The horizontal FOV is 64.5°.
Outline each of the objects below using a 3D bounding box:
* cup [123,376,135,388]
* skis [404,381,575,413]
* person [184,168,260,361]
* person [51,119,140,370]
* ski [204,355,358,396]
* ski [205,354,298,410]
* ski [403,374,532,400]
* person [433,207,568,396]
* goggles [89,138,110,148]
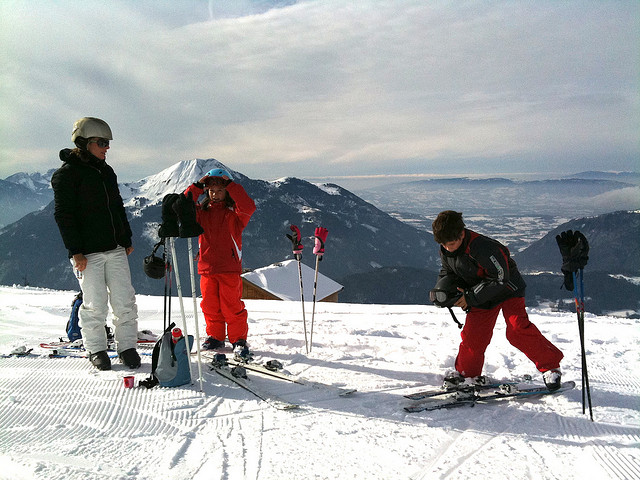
[{"bbox_3d":[-2.323,1.726,6.195,0.128,0.090,0.131,0,-3,0],"label":"cup"},{"bbox_3d":[2.134,1.954,6.293,1.678,0.123,0.218,-3,29,-11],"label":"skis"},{"bbox_3d":[-1.442,0.334,7.717,0.723,2.734,0.975,-5,2,-41],"label":"person"},{"bbox_3d":[-3.020,0.078,6.867,0.906,3.487,0.555,-5,1,-21],"label":"person"},{"bbox_3d":[-0.566,1.850,6.908,1.825,0.120,0.206,9,7,43],"label":"ski"},{"bbox_3d":[-0.913,1.855,6.605,0.169,0.124,1.178,-1,14,-42],"label":"ski"},{"bbox_3d":[1.905,1.898,6.547,1.830,0.113,0.175,-3,42,-12],"label":"ski"},{"bbox_3d":[2.162,0.791,6.434,1.409,1.807,0.685,-4,1,10],"label":"person"},{"bbox_3d":[-2.900,-1.294,6.709,0.213,0.128,0.201,-4,1,-28],"label":"goggles"}]
